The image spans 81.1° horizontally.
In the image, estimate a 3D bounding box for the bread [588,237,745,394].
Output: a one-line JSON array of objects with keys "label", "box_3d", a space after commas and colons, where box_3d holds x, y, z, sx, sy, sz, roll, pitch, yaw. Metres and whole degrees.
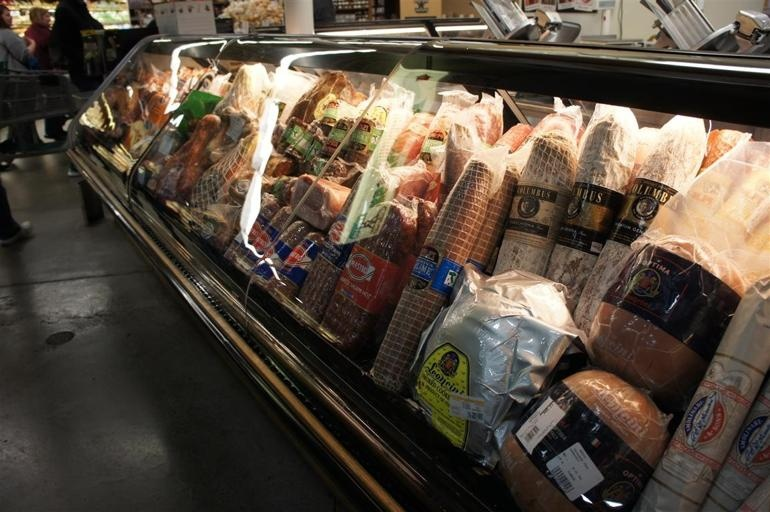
[{"label": "bread", "box_3d": [0.558, 0.097, 0.924, 0.246, 0.261, 0.236, 25, 0, -43]}]
